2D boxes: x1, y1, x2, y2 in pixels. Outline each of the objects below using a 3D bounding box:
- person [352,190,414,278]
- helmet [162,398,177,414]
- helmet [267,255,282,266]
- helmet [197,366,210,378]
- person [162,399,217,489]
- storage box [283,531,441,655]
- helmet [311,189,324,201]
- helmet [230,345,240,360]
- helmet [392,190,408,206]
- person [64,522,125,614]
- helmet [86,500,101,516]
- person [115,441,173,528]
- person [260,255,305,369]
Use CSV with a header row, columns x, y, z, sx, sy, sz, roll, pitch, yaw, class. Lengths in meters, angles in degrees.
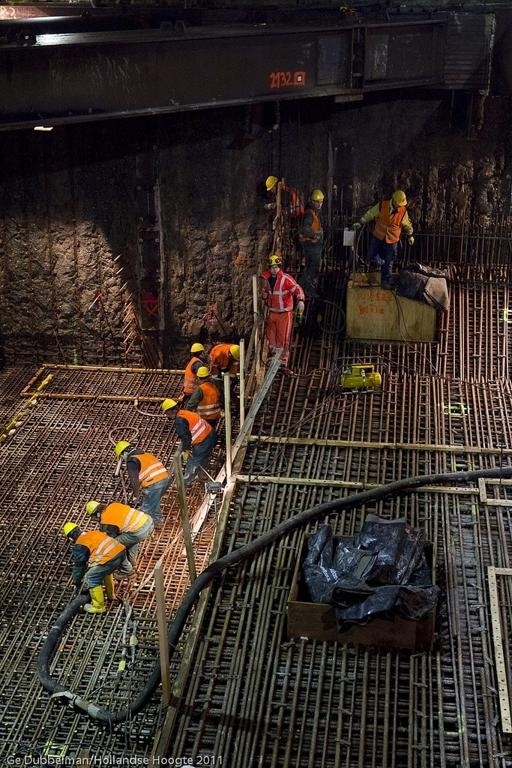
x,y,z,sx,sy,sz,roll,pitch,yaw,class
1.844,-2.185,8.369,0.793,1.220,1.621,3,21,12,person
-1.016,0.254,6.607,0.153,0.097,0.194,-38,19,-18,helmet
0.217,-1.494,6.989,0.128,0.096,0.179,-1,18,4,helmet
-0.640,-0.153,6.869,0.130,0.128,0.222,-4,21,-8,helmet
-0.776,0.685,6.700,0.635,1.071,0.425,8,21,20,person
0.809,1.543,4.309,0.853,0.389,0.873,2,28,12,storage box
0.820,-2.566,7.859,0.155,0.145,0.259,0,21,2,helmet
-0.283,-0.395,7.235,0.094,0.224,0.197,0,20,3,helmet
1.889,-2.483,7.688,0.161,0.179,0.420,4,21,12,helmet
-1.428,1.605,5.129,0.514,0.765,0.401,-6,-1,21,person
-1.564,1.204,5.565,0.080,0.156,0.185,37,-11,-9,helmet
-1.170,1.082,5.965,0.508,0.826,0.365,22,54,31,person
0.334,-0.907,7.300,0.494,1.459,0.537,1,20,5,person
